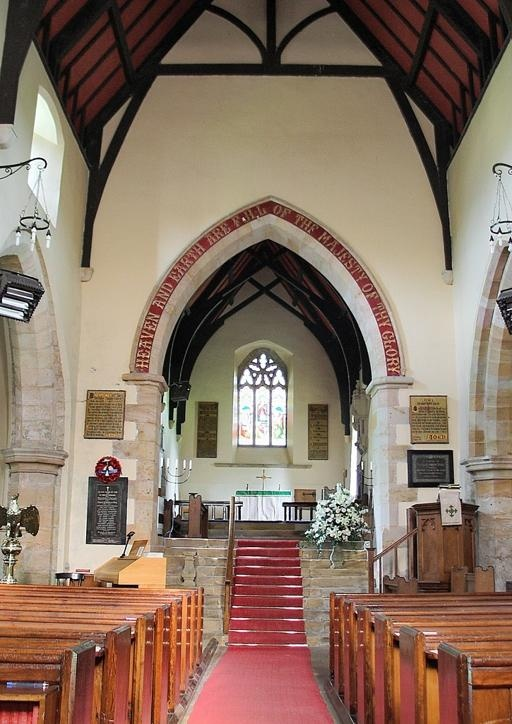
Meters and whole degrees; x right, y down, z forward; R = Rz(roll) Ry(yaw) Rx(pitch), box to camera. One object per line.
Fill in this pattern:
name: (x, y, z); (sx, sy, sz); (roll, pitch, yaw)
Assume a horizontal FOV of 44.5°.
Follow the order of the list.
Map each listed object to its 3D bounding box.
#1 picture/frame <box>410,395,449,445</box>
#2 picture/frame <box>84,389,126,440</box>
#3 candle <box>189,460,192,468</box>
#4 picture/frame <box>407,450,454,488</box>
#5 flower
picture/frame: (2.413, 0.843, 8.710); (0.590, 0.821, 0.088); (0, -17, 3)
picture/frame: (-2.136, 0.771, 8.696); (0.591, 0.847, 0.088); (-1, -19, -1)
candle: (-1.684, 2.613, 15.760); (0.062, 0.233, 0.130); (-2, -12, 12)
picture/frame: (2.369, 1.489, 8.520); (0.433, 0.410, 0.035); (-1, -18, 2)
flower: (1.203, 2.299, 9.323); (0.897, 1.163, 1.001); (-1, -4, -5)
